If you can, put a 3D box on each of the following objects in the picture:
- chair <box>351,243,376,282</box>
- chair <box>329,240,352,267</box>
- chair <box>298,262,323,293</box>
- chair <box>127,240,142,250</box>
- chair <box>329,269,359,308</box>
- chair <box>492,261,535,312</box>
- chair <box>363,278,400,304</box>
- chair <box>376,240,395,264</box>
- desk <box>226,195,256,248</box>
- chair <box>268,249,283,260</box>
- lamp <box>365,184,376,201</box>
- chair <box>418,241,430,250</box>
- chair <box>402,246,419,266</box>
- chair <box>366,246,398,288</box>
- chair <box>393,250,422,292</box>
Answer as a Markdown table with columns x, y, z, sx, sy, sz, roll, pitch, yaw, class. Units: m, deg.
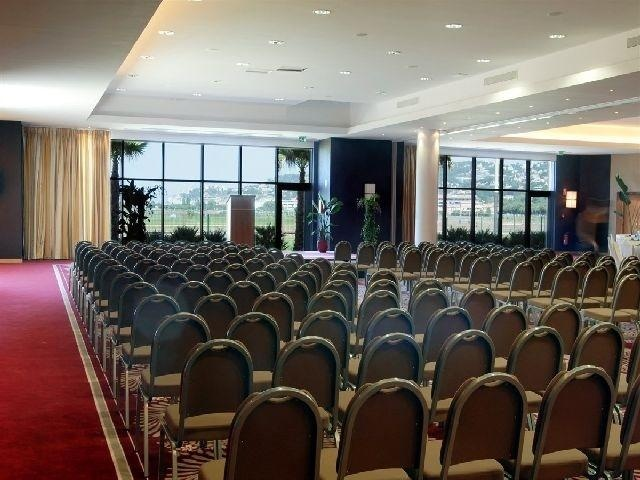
| x | y | z | sx | sy | sz | roll | pitch | yaw | class |
| --- | --- | --- | --- | --- | --- | --- | --- | --- | --- |
| 1.071 | 0.452 | 11.675 | 0.575 | 1.110 | 0.705 | -2 | 8 | -15 | chair |
| 0.571 | 0.312 | 12.048 | 0.403 | 0.815 | 0.473 | 1 | 8 | -7 | chair |
| -0.075 | 0.548 | 7.408 | 0.282 | 0.541 | 0.353 | -2 | 6 | -14 | chair |
| -4.278 | 0.140 | 11.487 | 0.311 | 0.318 | 0.326 | 3 | -2 | -5 | chair |
| 0.337 | 0.604 | 6.575 | 0.312 | 0.599 | 0.366 | -1 | 8 | -5 | chair |
| 3.371 | 0.954 | 8.679 | 0.638 | 1.161 | 0.720 | 2 | -2 | -9 | chair |
| 0.754 | 0.610 | 5.964 | 0.241 | 0.429 | 0.273 | 0 | 7 | -10 | chair |
| 1.570 | 0.289 | 11.235 | 0.408 | 0.666 | 0.480 | 2 | 0 | -14 | chair |
| -2.632 | -0.678 | 16.810 | 1.037 | 1.927 | 1.160 | 4 | 16 | 0 | desk |
| -0.913 | 0.309 | 10.332 | 0.228 | 0.186 | 0.240 | 0 | 3 | 3 | chair |
| 1.839 | -1.831 | 18.497 | 0.373 | 0.563 | 0.480 | -3 | 9 | 11 | lamp |
| 2.658 | 0.159 | 12.644 | 0.210 | 0.231 | 0.207 | -5 | 14 | 24 | chair |
| 1.898 | 0.386 | 10.426 | 0.298 | 0.489 | 0.369 | 1 | 0 | -15 | chair |
| 1.439 | 0.623 | 11.282 | 0.625 | 1.082 | 0.674 | 1 | 4 | -28 | chair |
| 1.891 | 0.546 | 10.563 | 0.543 | 1.027 | 0.652 | -2 | 10 | -13 | chair |
